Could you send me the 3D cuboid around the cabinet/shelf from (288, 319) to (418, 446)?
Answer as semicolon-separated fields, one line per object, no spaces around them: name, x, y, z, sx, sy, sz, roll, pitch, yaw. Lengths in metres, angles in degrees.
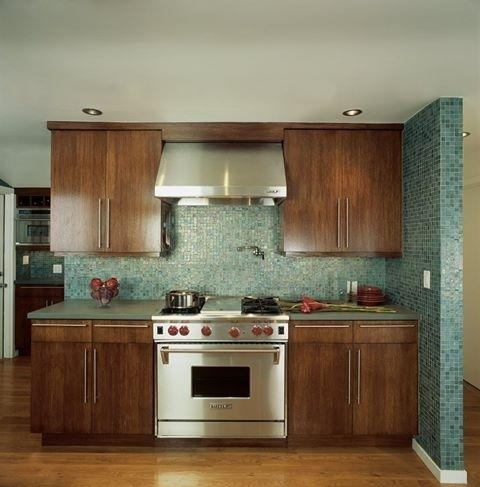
cabinet/shelf;0.782;0.927;3.791;1.120;0.786;0.502;0;-5;1

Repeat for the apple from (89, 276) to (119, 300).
apple;-1.017;0.338;4.076;0.187;0.109;0.189;4;-7;-20

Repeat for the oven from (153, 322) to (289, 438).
oven;-0.318;0.983;3.980;1.136;0.845;0.760;12;-22;-38

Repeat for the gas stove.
gas stove;-0.118;0.444;4.103;0.862;0.075;0.718;0;7;2

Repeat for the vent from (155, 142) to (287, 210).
vent;-0.135;-0.445;4.067;0.793;0.309;0.532;0;-3;0

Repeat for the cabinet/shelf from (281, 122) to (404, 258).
cabinet/shelf;0.777;-0.433;4.050;1.274;1.083;0.477;1;-3;-1

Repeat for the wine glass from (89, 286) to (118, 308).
wine glass;-1.026;0.410;4.125;0.191;0.113;0.176;1;-5;-12

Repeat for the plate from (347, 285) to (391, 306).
plate;0.980;0.404;4.213;0.206;0.100;0.187;0;-1;-13
